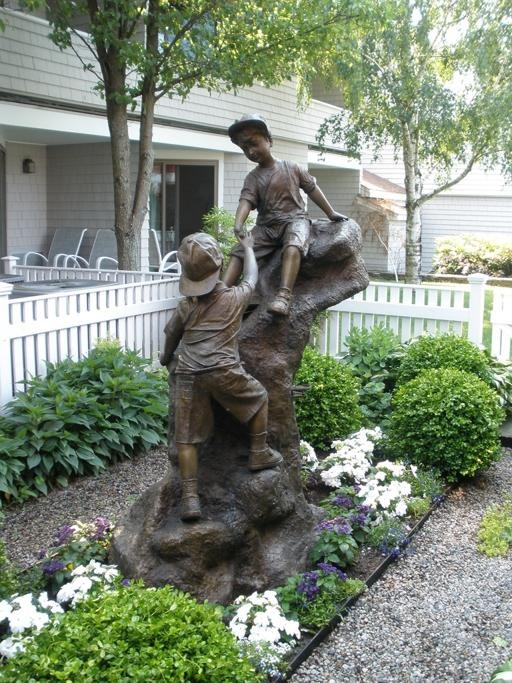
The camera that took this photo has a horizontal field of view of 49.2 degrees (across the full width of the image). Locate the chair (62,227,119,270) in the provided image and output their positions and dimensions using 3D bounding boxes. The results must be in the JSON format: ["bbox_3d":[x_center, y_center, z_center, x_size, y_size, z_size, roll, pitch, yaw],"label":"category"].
[{"bbox_3d":[-3.171,-1.841,11.039,0.937,0.777,2.040,9,1,-17],"label":"chair"}]

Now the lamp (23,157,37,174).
[{"bbox_3d":[-4.728,-3.665,11.715,0.178,0.321,0.424,10,1,2],"label":"lamp"}]

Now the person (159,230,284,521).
[{"bbox_3d":[-0.190,0.189,2.882,0.619,1.374,0.458,9,1,-11],"label":"person"}]
